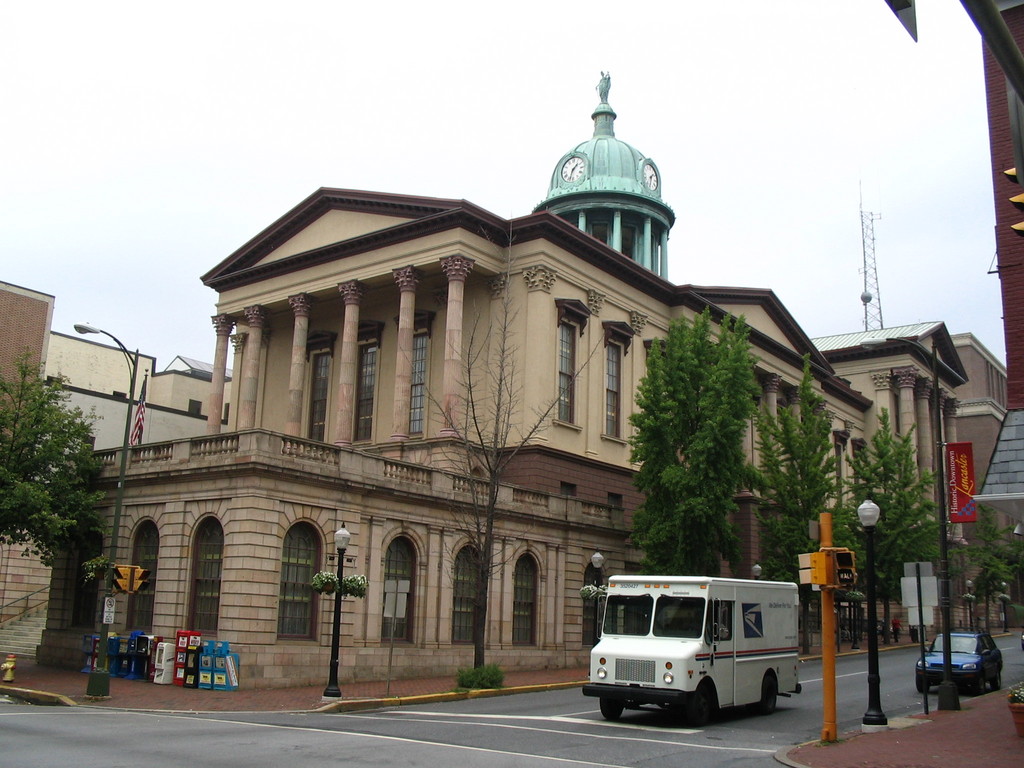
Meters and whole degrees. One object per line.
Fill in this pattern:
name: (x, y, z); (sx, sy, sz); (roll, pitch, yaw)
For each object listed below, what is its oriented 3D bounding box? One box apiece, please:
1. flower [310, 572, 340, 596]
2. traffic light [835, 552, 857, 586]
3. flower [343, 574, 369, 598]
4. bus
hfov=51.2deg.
flower: (-5.860, 6.221, 33.733); (0.873, 0.619, 0.893); (3, -6, 8)
traffic light: (7.813, 4.287, 25.054); (0.344, 0.817, 0.736); (-8, -19, 25)
flower: (-5.167, 6.562, 34.084); (0.857, 0.637, 0.878); (0, -1, 17)
bus: (5.565, 7.504, 30.259); (7.969, 4.031, 2.874); (15, -22, -39)
